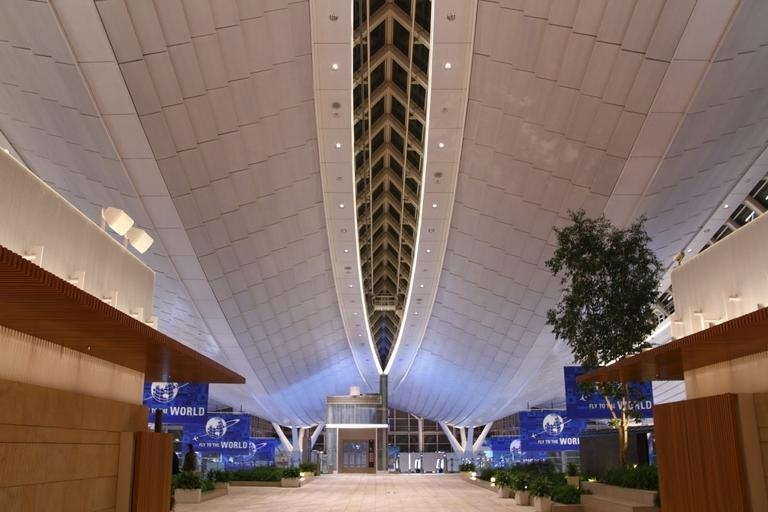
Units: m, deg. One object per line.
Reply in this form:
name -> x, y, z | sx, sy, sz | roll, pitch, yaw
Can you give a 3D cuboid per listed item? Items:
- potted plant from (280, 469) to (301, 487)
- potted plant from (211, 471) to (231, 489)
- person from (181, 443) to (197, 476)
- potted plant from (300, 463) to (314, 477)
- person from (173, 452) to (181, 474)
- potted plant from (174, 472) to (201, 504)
potted plant -> -4.723, 11.111, 25.917 | 0.713, 0.812, 0.753 | 2, -11, -2
potted plant -> -6.772, 9.238, 21.339 | 0.548, 0.478, 0.568 | 2, -18, -1
person -> -6.960, 7.194, 18.433 | 0.408, 1.048, 1.568 | 8, -29, -18
potted plant -> -4.798, 13.208, 32.011 | 1.050, 0.855, 1.072 | 1, -10, -7
person -> -6.915, 6.860, 17.166 | 0.191, 0.640, 1.346 | 7, -29, -17
potted plant -> -6.514, 7.790, 17.414 | 0.742, 0.905, 0.810 | 0, -22, 1
